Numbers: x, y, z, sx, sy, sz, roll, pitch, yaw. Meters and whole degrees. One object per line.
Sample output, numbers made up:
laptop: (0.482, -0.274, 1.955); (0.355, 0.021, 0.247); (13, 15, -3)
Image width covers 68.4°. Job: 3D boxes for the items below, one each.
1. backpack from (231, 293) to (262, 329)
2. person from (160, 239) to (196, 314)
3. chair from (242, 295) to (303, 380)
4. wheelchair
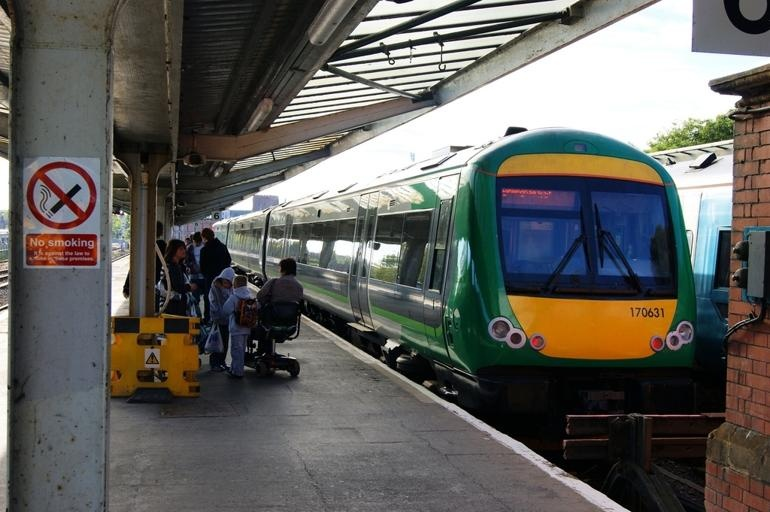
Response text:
backpack: (-2.225, 0.936, 9.197); (0.557, 0.742, 0.402); (7, -20, -23)
person: (-3.831, 0.426, 10.474); (0.675, 1.449, 1.478); (2, 2, -20)
chair: (-1.871, 1.348, 9.427); (0.905, 1.306, 1.285); (3, 1, -27)
wheelchair: (-1.981, 1.378, 9.831); (0.884, 1.224, 1.385); (6, -5, -27)
